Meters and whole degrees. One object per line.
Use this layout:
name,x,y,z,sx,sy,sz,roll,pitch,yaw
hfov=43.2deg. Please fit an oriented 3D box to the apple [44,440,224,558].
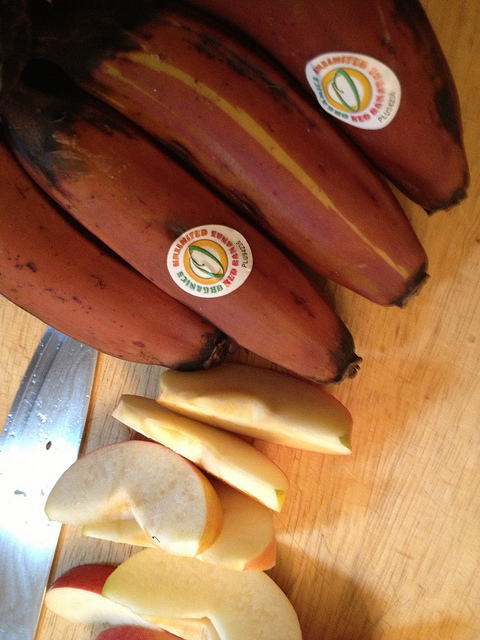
apple,-0.152,0.259,0.889,0.274,0.147,0.070,-2,-30,26

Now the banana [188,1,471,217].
banana,0.125,-0.232,0.632,0.140,0.255,0.066,-42,24,11
